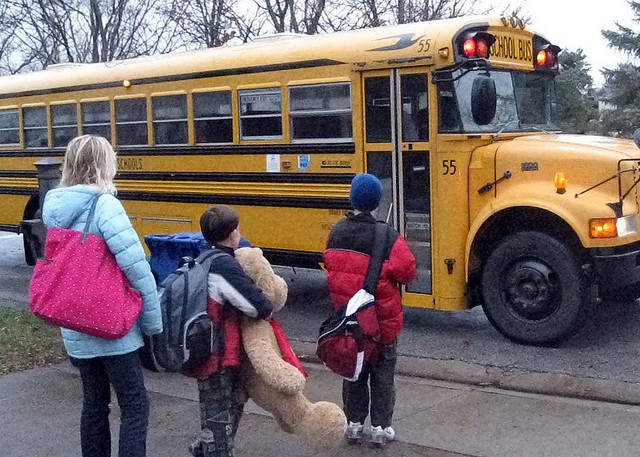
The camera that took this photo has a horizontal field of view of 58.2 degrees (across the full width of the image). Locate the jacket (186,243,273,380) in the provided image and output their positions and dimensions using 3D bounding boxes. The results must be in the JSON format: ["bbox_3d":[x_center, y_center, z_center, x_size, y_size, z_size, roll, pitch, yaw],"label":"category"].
[{"bbox_3d":[-0.615,0.605,3.724,0.569,0.872,0.537,-15,-19,25],"label":"jacket"}]

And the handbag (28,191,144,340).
[{"bbox_3d":[-1.407,0.252,3.457,0.639,0.866,0.341,-4,8,-17],"label":"handbag"}]

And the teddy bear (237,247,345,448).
[{"bbox_3d":[-0.210,0.805,3.864,0.747,1.353,0.826,-7,-9,22],"label":"teddy bear"}]

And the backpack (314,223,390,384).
[{"bbox_3d":[0.209,0.474,4.160,0.482,1.157,0.466,9,24,25],"label":"backpack"}]

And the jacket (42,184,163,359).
[{"bbox_3d":[-1.348,0.264,3.576,0.734,1.071,0.334,-2,8,-5],"label":"jacket"}]
